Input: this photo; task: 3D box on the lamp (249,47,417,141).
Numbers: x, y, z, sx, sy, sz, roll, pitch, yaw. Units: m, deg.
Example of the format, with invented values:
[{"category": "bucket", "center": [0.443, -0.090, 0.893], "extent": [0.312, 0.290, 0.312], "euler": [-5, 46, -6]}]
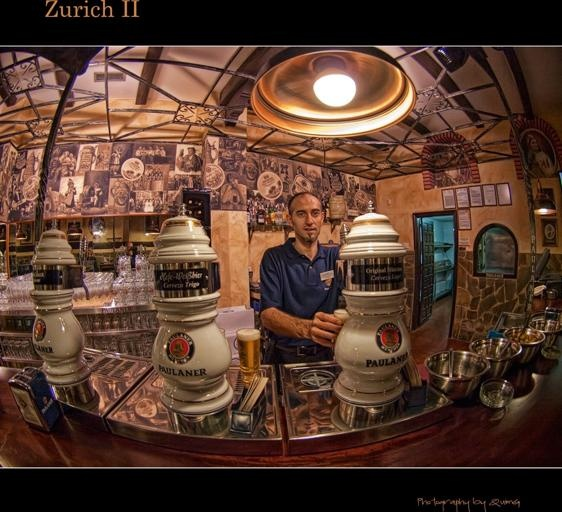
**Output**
[{"category": "lamp", "center": [0.168, -0.553, 1.367], "extent": [0.528, 0.265, 0.244], "euler": [-2, 6, 6]}]

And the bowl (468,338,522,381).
[{"category": "bowl", "center": [0.753, 0.387, 1.431], "extent": [0.174, 0.101, 0.149], "euler": [7, -3, -10]}]

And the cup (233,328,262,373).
[{"category": "cup", "center": [-0.111, 0.323, 1.373], "extent": [0.073, 0.161, 0.097], "euler": [-4, 6, -9]}]

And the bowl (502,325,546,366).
[{"category": "bowl", "center": [0.961, 0.330, 1.594], "extent": [0.152, 0.104, 0.147], "euler": [-8, 14, 2]}]

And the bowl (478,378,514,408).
[{"category": "bowl", "center": [0.689, 0.443, 1.291], "extent": [0.109, 0.079, 0.053], "euler": [-5, 7, -18]}]

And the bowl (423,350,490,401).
[{"category": "bowl", "center": [0.581, 0.372, 1.316], "extent": [0.160, 0.088, 0.154], "euler": [1, -4, 0]}]

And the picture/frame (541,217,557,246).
[{"category": "picture/frame", "center": [1.024, -0.087, 1.526], "extent": [0.103, 0.113, 0.030], "euler": [-7, 7, -33]}]
